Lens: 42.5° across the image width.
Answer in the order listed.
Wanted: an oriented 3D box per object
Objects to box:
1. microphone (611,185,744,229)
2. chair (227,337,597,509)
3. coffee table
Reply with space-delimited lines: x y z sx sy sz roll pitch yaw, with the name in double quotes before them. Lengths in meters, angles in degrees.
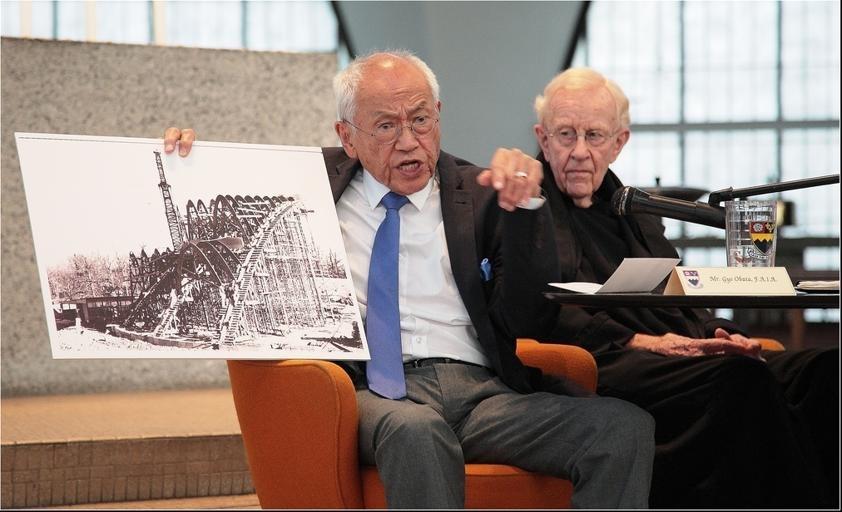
"microphone" 1.174 -0.220 5.177 0.717 0.178 0.187 8 0 2
"chair" -0.244 0.768 5.166 1.192 0.892 0.931 5 -19 -22
"coffee table" 1.209 0.203 4.826 1.293 0.104 0.145 -2 3 4
